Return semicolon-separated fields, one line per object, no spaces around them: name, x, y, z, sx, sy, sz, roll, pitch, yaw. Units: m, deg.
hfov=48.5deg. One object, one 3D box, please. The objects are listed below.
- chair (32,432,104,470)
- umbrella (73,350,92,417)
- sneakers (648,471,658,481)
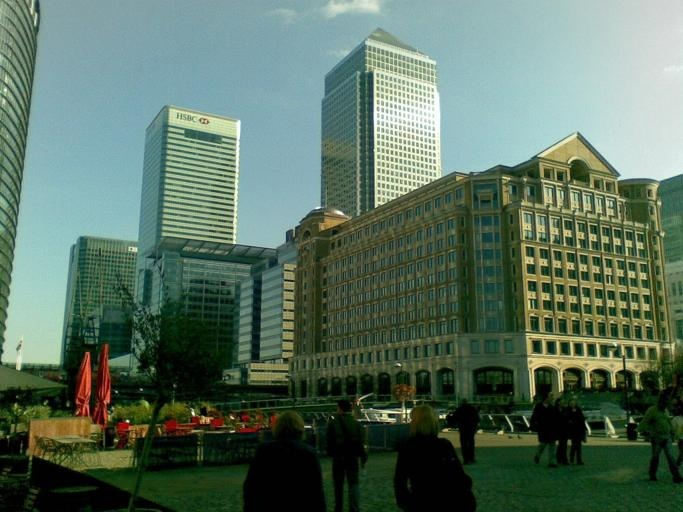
chair;-9.643;6.964;26.788;2.211;1.119;3.426;4;-16;-16
umbrella;-11.411;5.638;33.621;0.679;2.938;1.315;5;-17;-19
sneakers;9.436;6.639;22.769;0.275;0.282;0.263;2;2;9
